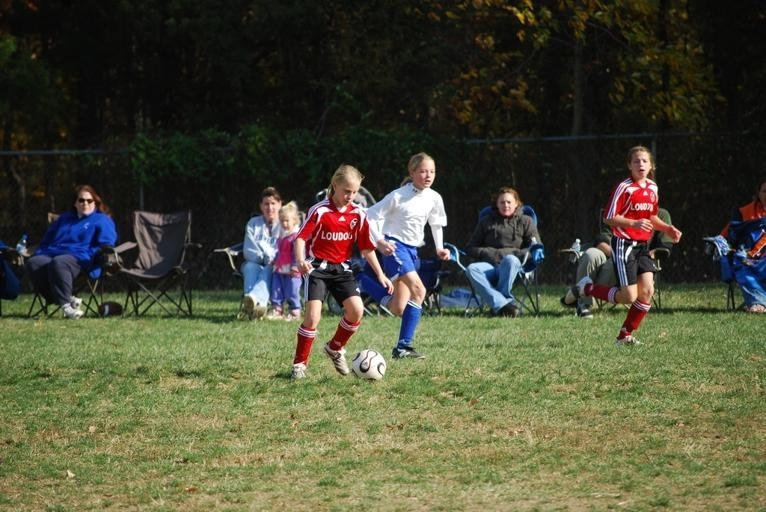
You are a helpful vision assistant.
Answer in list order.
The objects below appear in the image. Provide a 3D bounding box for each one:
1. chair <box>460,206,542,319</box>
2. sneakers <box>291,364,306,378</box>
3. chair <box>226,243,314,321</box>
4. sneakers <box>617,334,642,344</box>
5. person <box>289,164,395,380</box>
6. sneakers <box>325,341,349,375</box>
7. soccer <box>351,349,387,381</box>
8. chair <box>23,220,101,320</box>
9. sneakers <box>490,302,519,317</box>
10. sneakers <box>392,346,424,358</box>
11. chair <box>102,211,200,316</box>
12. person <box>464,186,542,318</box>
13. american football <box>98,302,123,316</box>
[{"bbox_3d":[1.865,-0.061,17.868,1.208,2.230,1.293,7,-11,-20],"label":"chair"},{"bbox_3d":[-1.080,1.511,14.891,0.134,0.195,0.185,6,-14,1],"label":"sneakers"},{"bbox_3d":[-1.784,0.466,18.056,1.155,1.526,1.117,1,-21,-5],"label":"chair"},{"bbox_3d":[3.312,1.137,15.553,0.294,0.138,0.123,-1,4,9],"label":"sneakers"},{"bbox_3d":[-0.622,0.230,14.854,1.079,2.743,0.525,1,-1,-5],"label":"person"},{"bbox_3d":[-0.609,1.349,14.989,0.171,0.388,0.130,-35,3,32],"label":"sneakers"},{"bbox_3d":[-0.175,1.435,14.825,0.367,0.391,0.375,21,-37,-16],"label":"soccer"},{"bbox_3d":[-4.865,0.143,17.990,1.191,1.175,0.696,1,0,11],"label":"chair"},{"bbox_3d":[1.864,0.830,17.499,0.303,0.147,0.183,-7,-8,39],"label":"sneakers"},{"bbox_3d":[0.340,1.305,15.425,0.432,0.192,0.155,1,-6,6],"label":"sneakers"},{"bbox_3d":[-3.541,0.163,18.043,1.136,1.720,1.218,0,5,-20],"label":"chair"},{"bbox_3d":[1.851,-0.001,17.884,1.103,2.237,1.100,0,-16,13],"label":"person"},{"bbox_3d":[-4.262,0.858,18.052,0.232,0.164,0.246,0,-1,15],"label":"american football"}]
